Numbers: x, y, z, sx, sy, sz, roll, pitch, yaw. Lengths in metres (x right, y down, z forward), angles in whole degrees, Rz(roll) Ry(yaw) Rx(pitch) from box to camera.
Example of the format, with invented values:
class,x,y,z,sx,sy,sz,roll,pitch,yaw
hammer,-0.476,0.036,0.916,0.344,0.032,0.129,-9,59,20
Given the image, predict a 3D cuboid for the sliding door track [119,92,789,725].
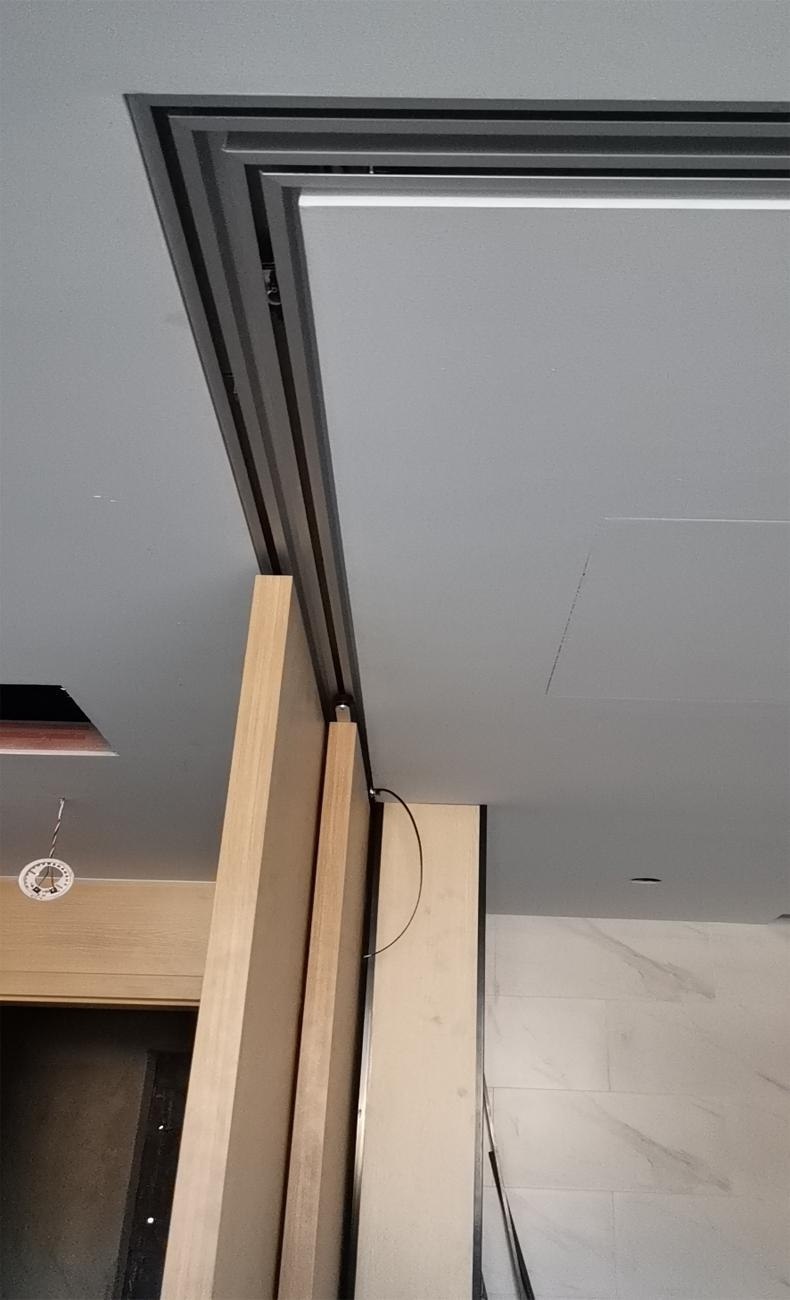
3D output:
class,x,y,z,sx,sy,sz,roll,pitch,yaw
sliding door track,0.091,-0.355,1.426,0.650,0.178,0.762,-1,-41,-2
